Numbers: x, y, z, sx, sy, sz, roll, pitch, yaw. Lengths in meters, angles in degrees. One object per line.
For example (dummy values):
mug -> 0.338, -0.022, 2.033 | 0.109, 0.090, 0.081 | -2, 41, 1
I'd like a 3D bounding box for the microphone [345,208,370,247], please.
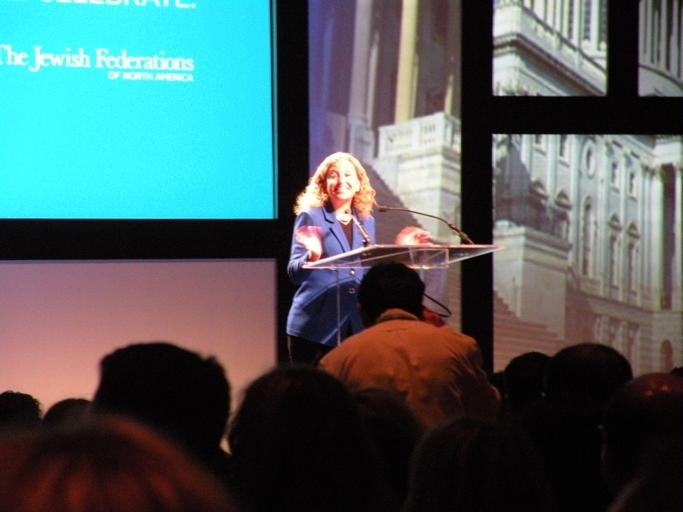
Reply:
microphone -> 0.072, -0.129, 3.496 | 0.057, 0.079, 0.213 | -9, -52, 47
